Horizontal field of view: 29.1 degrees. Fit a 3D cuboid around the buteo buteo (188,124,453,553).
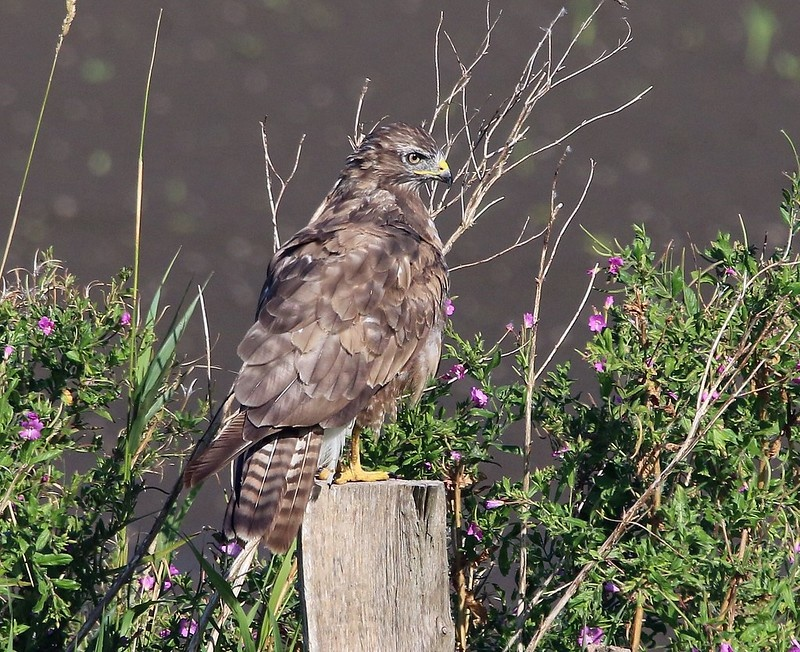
[{"bbox_3d":[-0.261,0.089,5.746,0.806,1.803,1.346,4,-1,2],"label":"buteo buteo"}]
